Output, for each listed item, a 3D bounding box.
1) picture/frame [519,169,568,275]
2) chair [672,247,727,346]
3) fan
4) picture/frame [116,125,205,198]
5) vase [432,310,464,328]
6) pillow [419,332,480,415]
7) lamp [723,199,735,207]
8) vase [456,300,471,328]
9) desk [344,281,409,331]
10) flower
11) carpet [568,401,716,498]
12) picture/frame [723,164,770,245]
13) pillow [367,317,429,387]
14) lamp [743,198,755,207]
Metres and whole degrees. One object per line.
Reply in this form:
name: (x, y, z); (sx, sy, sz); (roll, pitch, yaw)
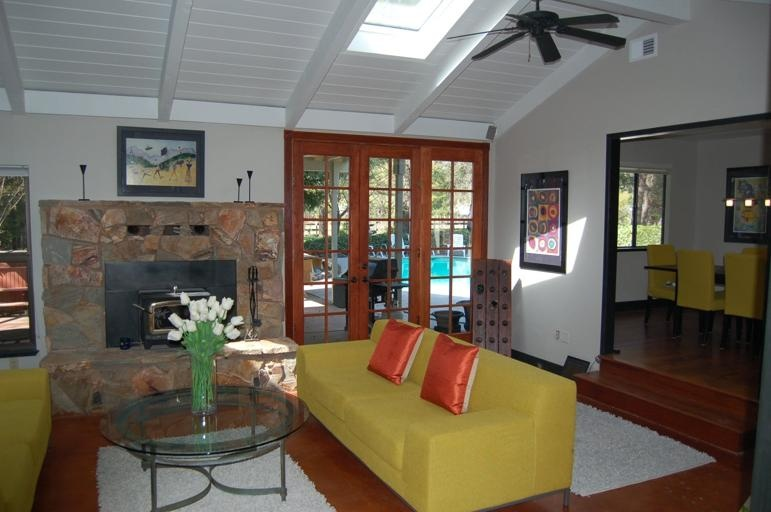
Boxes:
picture/frame: (2.094, -0.443, 7.205); (0.049, 1.327, 0.757); (-2, 3, -34)
chair: (4.154, 0.491, 7.080); (0.639, 1.036, 0.557); (3, 1, -20)
fan: (1.398, -1.906, 4.895); (1.125, 0.275, 1.069); (-1, 7, -6)
picture/frame: (-2.709, -1.127, 6.414); (0.976, 0.741, 0.070); (0, 6, -19)
vase: (0.920, 0.920, 7.912); (0.353, 0.216, 0.303); (1, 3, -2)
pillow: (0.574, 1.061, 4.893); (0.344, 0.539, 0.638); (-11, 8, -21)
lamp: (6.004, -0.922, 9.471); (0.125, 0.153, 0.165); (2, -3, -9)
vase: (1.184, 0.847, 7.992); (0.349, 0.363, 0.347); (0, 4, -2)
desk: (-0.162, 0.700, 7.550); (0.732, 0.619, 0.715); (1, -1, -26)
flower: (-1.644, 0.871, 4.815); (0.668, 0.905, 0.628); (6, -7, -15)
carpet: (2.098, 1.848, 5.274); (1.467, 0.280, 1.280); (-1, 2, -26)
picture/frame: (6.165, -0.873, 9.260); (0.303, 1.335, 0.730); (-2, 2, -23)
pillow: (0.096, 0.894, 5.540); (0.724, 0.675, 0.172); (-15, -26, 43)
lamp: (6.213, -0.909, 9.283); (0.034, 0.124, 0.135); (3, 7, -36)
